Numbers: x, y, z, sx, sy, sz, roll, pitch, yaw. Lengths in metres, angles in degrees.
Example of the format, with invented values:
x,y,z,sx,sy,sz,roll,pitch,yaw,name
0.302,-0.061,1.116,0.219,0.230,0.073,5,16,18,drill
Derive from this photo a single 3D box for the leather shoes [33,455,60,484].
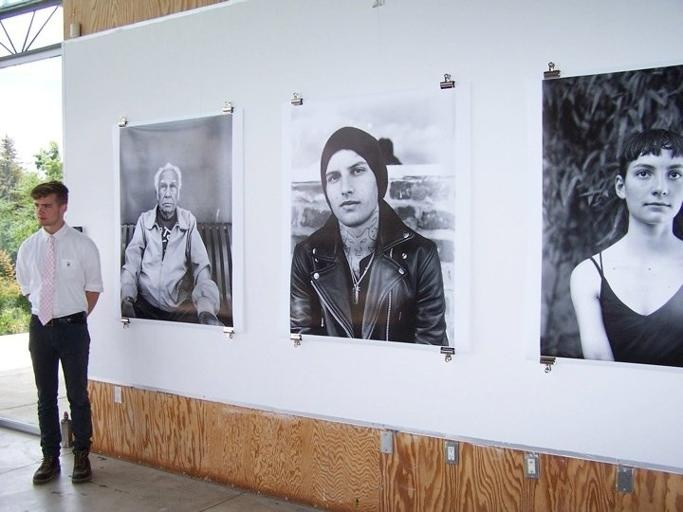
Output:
x,y,z,sx,sy,sz,roll,pitch,yaw,name
-2.025,1.457,4.098,0.084,0.122,0.247,1,-8,0,leather shoes

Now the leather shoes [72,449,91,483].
x,y,z,sx,sy,sz,roll,pitch,yaw,name
-1.793,1.430,4.093,0.084,0.119,0.255,0,-2,-7,leather shoes

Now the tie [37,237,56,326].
x,y,z,sx,sy,sz,roll,pitch,yaw,name
-2.012,0.158,4.076,0.111,0.572,0.186,-3,8,-15,tie
